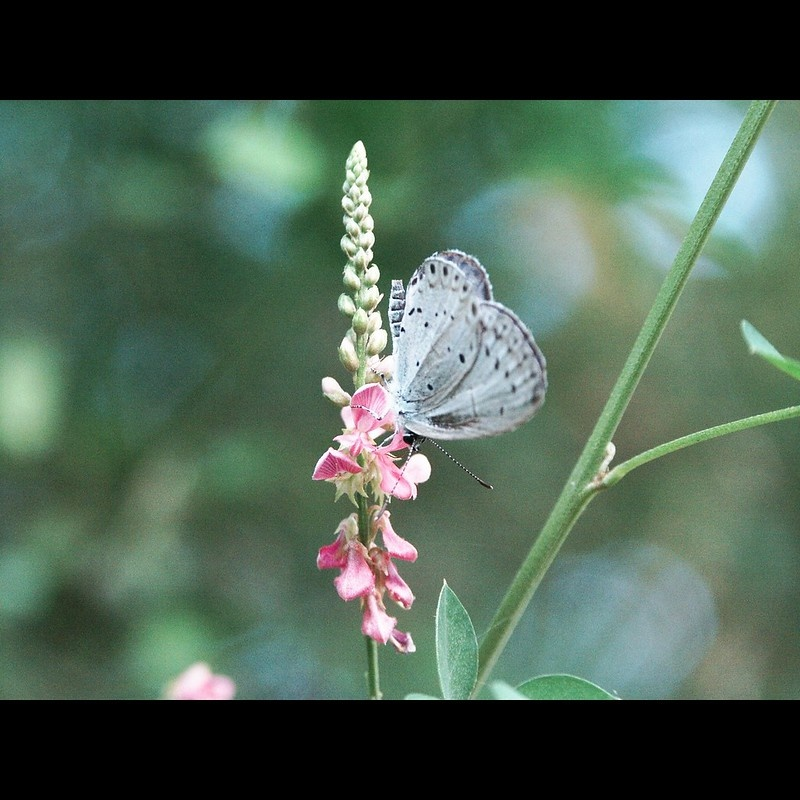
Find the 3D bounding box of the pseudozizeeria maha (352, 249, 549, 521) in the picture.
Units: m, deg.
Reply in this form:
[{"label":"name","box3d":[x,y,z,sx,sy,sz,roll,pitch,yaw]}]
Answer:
[{"label":"pseudozizeeria maha","box3d":[0.060,-0.050,2.101,0.380,0.498,0.519,5,-3,-38]}]

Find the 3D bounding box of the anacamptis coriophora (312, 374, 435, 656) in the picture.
[{"label":"anacamptis coriophora","box3d":[-0.064,0.234,1.892,0.161,0.727,0.180,4,17,17]}]
